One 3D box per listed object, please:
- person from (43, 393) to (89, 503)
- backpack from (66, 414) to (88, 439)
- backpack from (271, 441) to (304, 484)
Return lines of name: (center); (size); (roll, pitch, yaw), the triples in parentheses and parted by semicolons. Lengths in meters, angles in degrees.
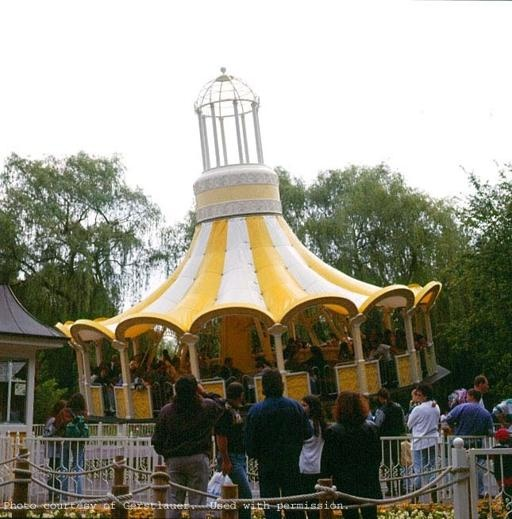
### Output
person: (-2.636, 2.617, 12.203); (0.583, 1.553, 1.940); (1, -17, -14)
backpack: (-2.502, 2.349, 12.168); (0.217, 0.266, 0.132); (3, 9, 2)
backpack: (0.286, 2.061, 8.806); (0.315, 0.591, 0.325); (1, -17, -5)
